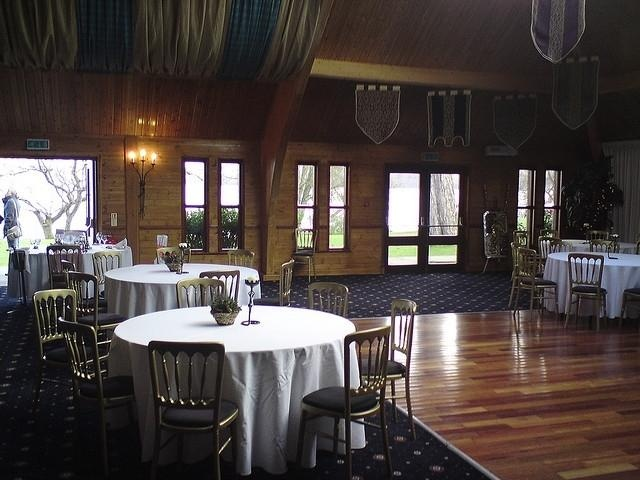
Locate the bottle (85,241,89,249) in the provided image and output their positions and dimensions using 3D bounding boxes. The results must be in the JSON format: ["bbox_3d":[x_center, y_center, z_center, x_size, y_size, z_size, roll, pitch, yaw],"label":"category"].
[{"bbox_3d":[-4.021,0.081,8.622,0.067,0.139,0.142,2,0,-5],"label":"bottle"}]

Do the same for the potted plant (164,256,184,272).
[{"bbox_3d":[-1.935,0.310,6.628,0.180,0.185,0.225,2,5,17],"label":"potted plant"}]

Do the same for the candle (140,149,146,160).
[{"bbox_3d":[-3.793,-1.864,10.700,0.122,0.232,0.239,-2,2,-21],"label":"candle"}]

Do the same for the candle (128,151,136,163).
[{"bbox_3d":[-4.027,-1.803,10.698,0.153,0.241,0.075,-2,2,-19],"label":"candle"}]

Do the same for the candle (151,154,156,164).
[{"bbox_3d":[-3.581,-1.767,10.789,0.124,0.217,0.246,-2,2,-20],"label":"candle"}]

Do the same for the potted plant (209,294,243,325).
[{"bbox_3d":[-0.785,0.586,4.195,0.213,0.240,0.222,-2,-3,38],"label":"potted plant"}]

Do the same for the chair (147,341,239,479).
[{"bbox_3d":[-0.886,1.205,3.539,0.612,1.093,0.562,-2,2,-11],"label":"chair"}]

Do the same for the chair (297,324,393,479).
[{"bbox_3d":[0.278,1.189,4.281,0.694,1.163,1.617,-1,2,10],"label":"chair"}]
